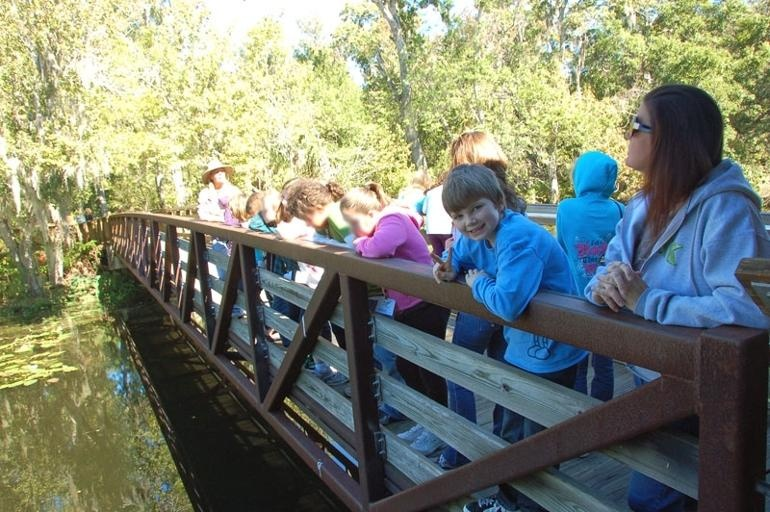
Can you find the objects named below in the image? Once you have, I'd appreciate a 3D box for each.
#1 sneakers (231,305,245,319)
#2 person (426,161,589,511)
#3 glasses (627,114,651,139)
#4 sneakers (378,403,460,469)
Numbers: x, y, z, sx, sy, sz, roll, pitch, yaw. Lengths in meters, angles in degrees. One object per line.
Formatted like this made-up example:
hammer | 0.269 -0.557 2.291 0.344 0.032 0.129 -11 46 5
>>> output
sneakers | -1.307 0.500 4.250 0.113 0.049 0.163 -7 -25 11
person | 0.485 0.365 1.900 0.585 1.436 0.630 4 13 23
glasses | 0.879 -0.442 1.634 0.077 0.030 0.066 11 -5 11
sneakers | 0.130 1.031 2.793 0.555 0.226 0.190 31 50 22
